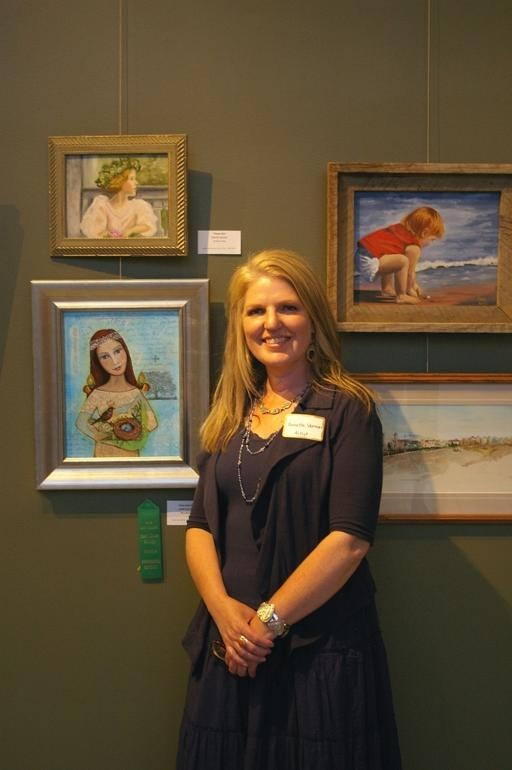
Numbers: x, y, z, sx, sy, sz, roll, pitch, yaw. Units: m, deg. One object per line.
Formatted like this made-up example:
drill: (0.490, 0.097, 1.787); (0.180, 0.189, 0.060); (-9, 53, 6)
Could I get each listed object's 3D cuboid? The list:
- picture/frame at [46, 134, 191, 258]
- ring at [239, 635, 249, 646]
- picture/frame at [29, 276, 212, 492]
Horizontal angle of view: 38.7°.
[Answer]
picture/frame: (-0.478, -0.658, 2.519); (0.476, 0.355, 0.037); (0, 4, 3)
ring: (-0.033, 0.672, 1.906); (0.007, 0.023, 0.025); (-15, 11, -39)
picture/frame: (-0.474, -0.001, 2.555); (0.856, 0.910, 0.067); (0, 2, -6)
